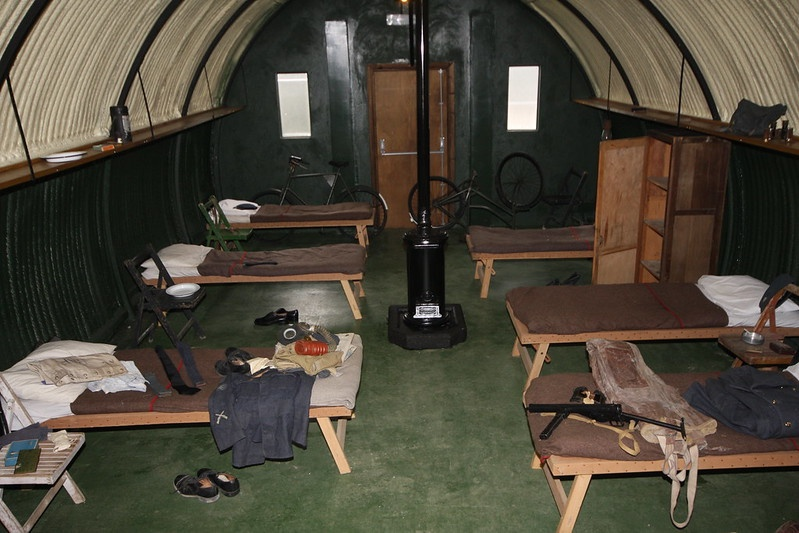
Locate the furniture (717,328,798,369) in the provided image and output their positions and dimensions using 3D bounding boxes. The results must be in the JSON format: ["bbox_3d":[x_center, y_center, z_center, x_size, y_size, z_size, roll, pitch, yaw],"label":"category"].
[{"bbox_3d":[3.604,0.790,5.971,0.774,0.334,0.457,-3,13,-5],"label":"furniture"}]

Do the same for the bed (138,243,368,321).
[{"bbox_3d":[-1.977,0.148,8.223,2.964,0.793,1.264,-2,17,-4],"label":"bed"}]

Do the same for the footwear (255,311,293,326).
[{"bbox_3d":[-1.657,0.709,8.014,0.623,0.200,0.224,0,0,1],"label":"footwear"}]

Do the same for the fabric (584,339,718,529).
[{"bbox_3d":[2.148,1.455,5.288,0.946,0.387,1.414,-9,35,-22],"label":"fabric"}]

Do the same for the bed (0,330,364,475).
[{"bbox_3d":[-1.975,1.304,5.671,3.070,0.708,1.320,-1,22,-5],"label":"bed"}]

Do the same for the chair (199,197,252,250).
[{"bbox_3d":[-2.905,-0.699,9.765,0.815,1.013,0.743,0,25,0],"label":"chair"}]

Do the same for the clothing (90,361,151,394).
[{"bbox_3d":[-2.620,1.059,5.520,0.347,0.074,0.346,-6,38,-30],"label":"clothing"}]

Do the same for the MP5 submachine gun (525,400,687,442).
[{"bbox_3d":[1.765,1.310,4.918,1.260,0.166,0.344,0,38,16],"label":"MP5 submachine gun"}]

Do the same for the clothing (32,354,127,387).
[{"bbox_3d":[-2.975,0.967,5.486,0.457,0.111,0.366,-2,15,-38],"label":"clothing"}]

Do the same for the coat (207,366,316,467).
[{"bbox_3d":[-1.234,1.416,5.448,0.943,0.674,0.554,-5,19,-2],"label":"coat"}]

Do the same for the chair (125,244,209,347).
[{"bbox_3d":[-2.893,0.410,7.301,0.974,1.130,0.818,9,17,11],"label":"chair"}]

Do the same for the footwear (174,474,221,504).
[{"bbox_3d":[-1.826,2.003,5.309,0.339,0.093,0.206,12,17,15],"label":"footwear"}]

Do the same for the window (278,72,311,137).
[{"bbox_3d":[-2.027,-3.071,11.158,0.733,1.211,0.151,-17,25,-40],"label":"window"}]

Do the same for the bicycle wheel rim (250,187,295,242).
[{"bbox_3d":[-2.402,-0.992,11.087,1.109,0.936,0.244,-2,5,1],"label":"bicycle wheel rim"}]
